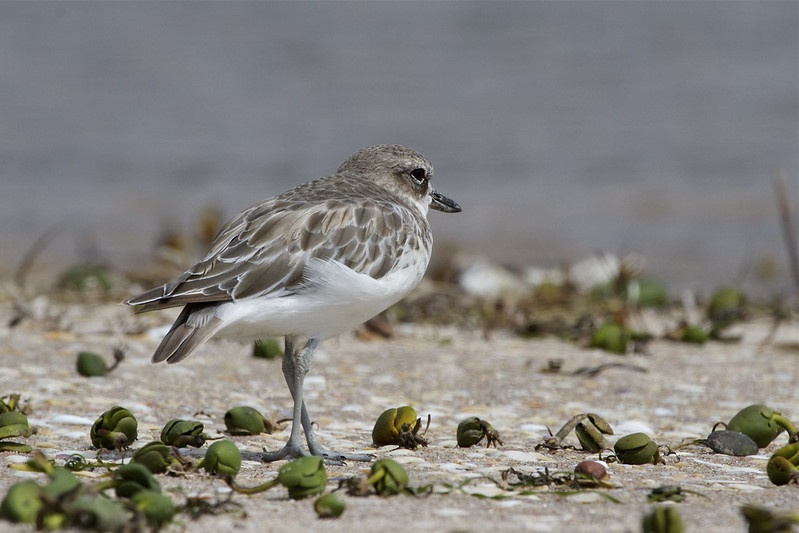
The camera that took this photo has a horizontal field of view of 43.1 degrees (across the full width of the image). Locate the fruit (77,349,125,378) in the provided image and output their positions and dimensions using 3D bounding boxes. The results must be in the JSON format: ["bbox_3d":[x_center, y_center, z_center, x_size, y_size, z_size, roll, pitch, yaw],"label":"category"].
[{"bbox_3d":[-2.126,0.705,7.234,0.304,0.110,0.223,-18,34,-41],"label":"fruit"}]
